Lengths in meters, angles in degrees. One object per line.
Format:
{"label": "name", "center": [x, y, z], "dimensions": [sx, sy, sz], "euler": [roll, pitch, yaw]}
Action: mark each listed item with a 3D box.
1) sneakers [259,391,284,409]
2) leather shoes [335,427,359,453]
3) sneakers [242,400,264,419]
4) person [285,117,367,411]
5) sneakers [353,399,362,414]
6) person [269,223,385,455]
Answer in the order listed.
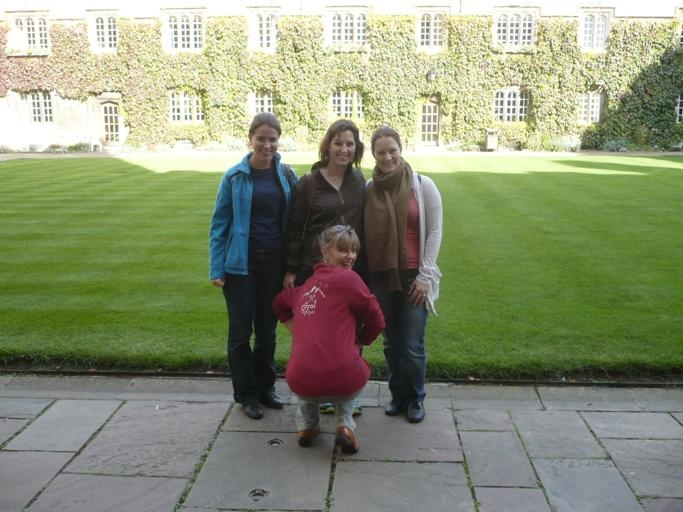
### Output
{"label": "sneakers", "center": [-0.493, 1.007, 4.362], "dimensions": [0.208, 0.081, 0.077], "euler": [-9, -12, 44]}
{"label": "leather shoes", "center": [0.031, 1.117, 3.869], "dimensions": [0.137, 0.167, 0.163], "euler": [0, 12, -1]}
{"label": "sneakers", "center": [-0.605, 1.042, 4.233], "dimensions": [0.071, 0.062, 0.170], "euler": [3, -5, -35]}
{"label": "person", "center": [-0.052, 0.029, 4.292], "dimensions": [0.703, 1.803, 0.520], "euler": [1, 10, 3]}
{"label": "sneakers", "center": [0.114, 1.041, 4.341], "dimensions": [0.054, 0.058, 0.137], "euler": [2, 13, -1]}
{"label": "person", "center": [-0.044, 0.505, 3.911], "dimensions": [0.536, 1.350, 0.493], "euler": [4, 13, 16]}
